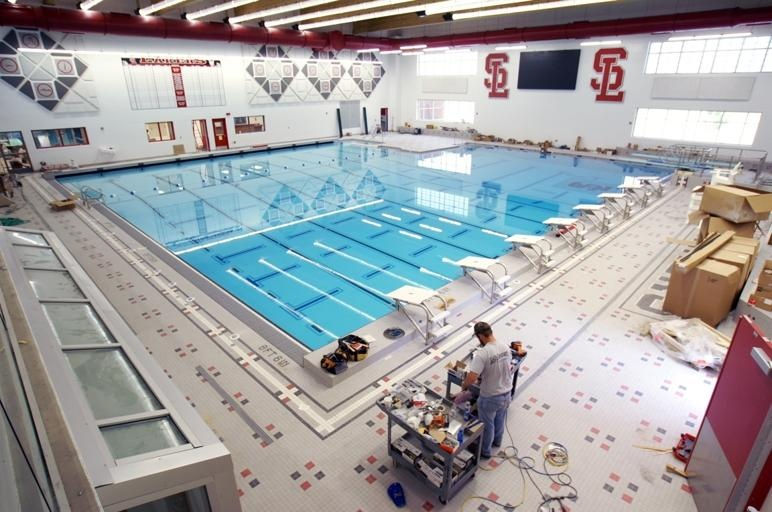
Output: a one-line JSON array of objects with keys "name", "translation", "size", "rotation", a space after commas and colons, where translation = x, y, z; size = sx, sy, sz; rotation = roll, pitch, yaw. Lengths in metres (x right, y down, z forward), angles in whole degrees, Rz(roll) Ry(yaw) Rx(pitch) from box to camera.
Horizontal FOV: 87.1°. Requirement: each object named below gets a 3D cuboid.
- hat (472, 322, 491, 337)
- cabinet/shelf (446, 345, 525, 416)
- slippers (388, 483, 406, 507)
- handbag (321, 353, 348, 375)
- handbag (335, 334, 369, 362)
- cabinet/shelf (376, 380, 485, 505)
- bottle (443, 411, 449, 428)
[{"name": "hat", "translation": [1.059, 0.886, 4.891], "size": [0.150, 0.139, 0.210], "rotation": [-27, 7, -34]}, {"name": "cabinet/shelf", "translation": [1.176, 1.602, 5.108], "size": [0.996, 0.632, 0.572], "rotation": [-28, 41, -33]}, {"name": "slippers", "translation": [0.067, 2.757, 4.677], "size": [0.176, 0.076, 0.213], "rotation": [-18, 34, -5]}, {"name": "handbag", "translation": [-0.814, 1.612, 6.032], "size": [0.394, 0.241, 0.238], "rotation": [-2, 23, -5]}, {"name": "handbag", "translation": [-0.588, 1.396, 6.260], "size": [0.335, 0.159, 0.443], "rotation": [-22, 32, -35]}, {"name": "cabinet/shelf", "translation": [0.462, 2.230, 4.936], "size": [1.067, 0.960, 0.715], "rotation": [20, 31, 39]}, {"name": "bottle", "translation": [0.635, 1.926, 4.748], "size": [0.046, 0.099, 0.113], "rotation": [6, -6, 0]}]
